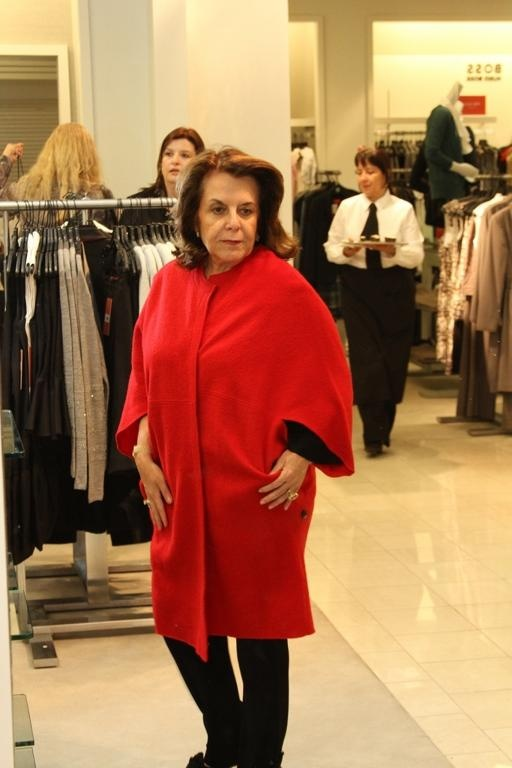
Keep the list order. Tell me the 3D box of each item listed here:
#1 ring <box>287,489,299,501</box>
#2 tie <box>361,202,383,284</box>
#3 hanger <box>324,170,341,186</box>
[{"bbox_3d":[0.056,0.169,0.959,0.020,0.026,0.005,-32,54,-10],"label":"ring"},{"bbox_3d":[0.844,-1.066,4.521,0.138,0.528,0.152,-1,1,10],"label":"tie"},{"bbox_3d":[0.860,-2.315,6.949,0.216,0.088,0.292,-1,-12,-2],"label":"hanger"}]
